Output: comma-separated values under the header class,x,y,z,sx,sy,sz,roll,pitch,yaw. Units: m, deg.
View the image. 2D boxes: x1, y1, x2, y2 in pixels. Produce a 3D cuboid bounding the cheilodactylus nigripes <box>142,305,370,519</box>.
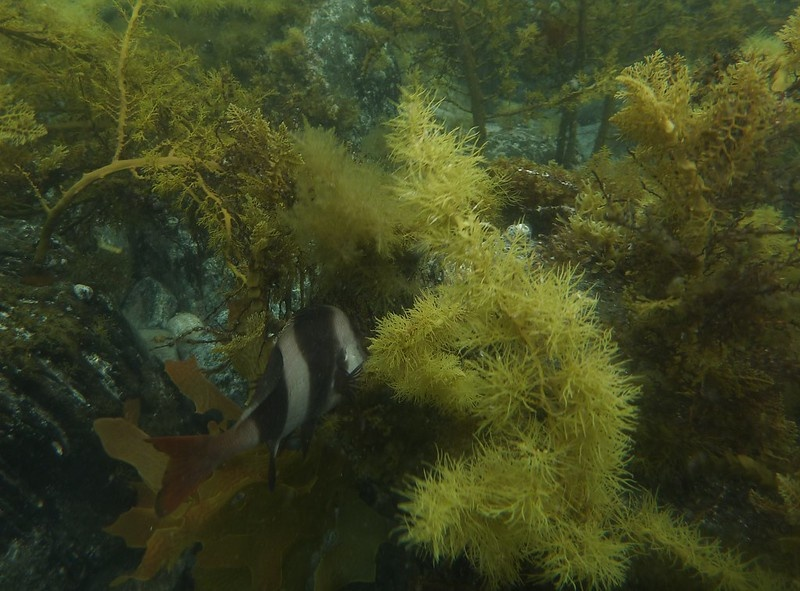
class,x,y,z,sx,sy,sz,roll,pitch,yaw
cheilodactylus nigripes,-0.460,0.402,3.482,0.513,0.569,0.945,20,45,35
